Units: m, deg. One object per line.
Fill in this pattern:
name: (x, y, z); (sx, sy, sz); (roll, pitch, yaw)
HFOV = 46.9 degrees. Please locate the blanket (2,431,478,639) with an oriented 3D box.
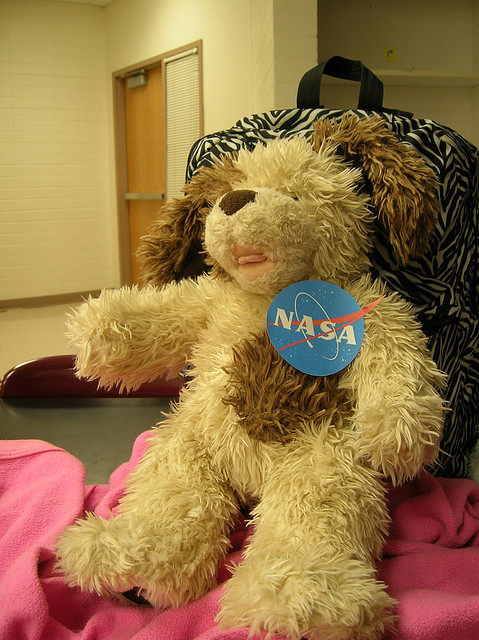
blanket: (-0.007, 0.256, 0.589); (0.315, 0.041, 0.311); (0, 3, -2)
